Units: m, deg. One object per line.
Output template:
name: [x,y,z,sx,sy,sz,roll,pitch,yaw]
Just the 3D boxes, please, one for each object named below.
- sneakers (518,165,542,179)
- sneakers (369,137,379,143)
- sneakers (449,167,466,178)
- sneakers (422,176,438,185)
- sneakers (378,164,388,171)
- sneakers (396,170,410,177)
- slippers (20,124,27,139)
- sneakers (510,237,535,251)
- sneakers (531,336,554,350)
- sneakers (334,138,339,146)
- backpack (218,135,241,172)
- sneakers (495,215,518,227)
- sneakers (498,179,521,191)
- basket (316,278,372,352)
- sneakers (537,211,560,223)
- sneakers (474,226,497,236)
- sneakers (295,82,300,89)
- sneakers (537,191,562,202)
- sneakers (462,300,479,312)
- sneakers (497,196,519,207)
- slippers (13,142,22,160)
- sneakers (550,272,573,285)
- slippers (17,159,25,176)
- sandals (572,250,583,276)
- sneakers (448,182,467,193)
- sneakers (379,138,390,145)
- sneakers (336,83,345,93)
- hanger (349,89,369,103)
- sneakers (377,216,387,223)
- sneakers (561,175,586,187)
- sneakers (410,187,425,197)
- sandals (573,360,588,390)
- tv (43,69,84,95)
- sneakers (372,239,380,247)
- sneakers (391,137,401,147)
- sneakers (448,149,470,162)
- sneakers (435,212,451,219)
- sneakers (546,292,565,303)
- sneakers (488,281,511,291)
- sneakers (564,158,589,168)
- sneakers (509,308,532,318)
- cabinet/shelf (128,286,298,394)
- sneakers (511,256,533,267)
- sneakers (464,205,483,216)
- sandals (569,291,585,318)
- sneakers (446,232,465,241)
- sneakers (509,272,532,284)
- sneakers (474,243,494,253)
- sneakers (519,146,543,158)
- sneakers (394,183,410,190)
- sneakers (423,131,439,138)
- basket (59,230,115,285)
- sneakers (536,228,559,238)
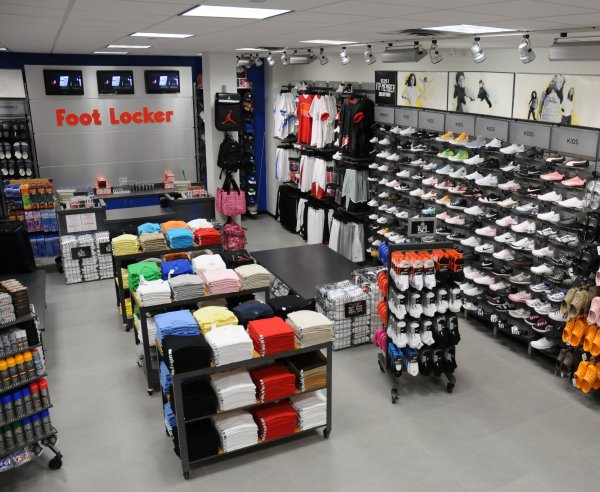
sneakers: [3.177,-1.020,6.058,0.114,0.120,0.268,-7,18,-31]
sneakers: [1.488,-2.136,8.786,0.098,0.066,0.133,-3,20,-10]
sneakers: [2.581,-1.209,7.167,0.262,0.136,0.158,-10,17,-34]
sneakers: [2.284,-1.160,7.724,0.225,0.104,0.122,10,21,31]
sneakers: [1.632,-1.549,8.637,0.162,0.110,0.099,4,13,6]
sneakers: [1.935,-1.377,8.253,0.190,0.086,0.117,4,13,20]
slippers: [-5.776,-2.408,9.121,0.090,0.322,0.234,-4,15,-6]
sneakers: [3.167,-0.038,6.233,0.286,0.158,0.145,8,14,33]
sneakers: [3.281,1.331,5.934,0.294,0.133,0.119,-2,9,-15]
sneakers: [0.793,-2.266,9.524,0.093,0.178,0.171,-5,16,-21]
backpack: [-1.609,-2.055,9.696,0.648,0.916,0.454,-8,16,-44]
sneakers: [3.059,-0.373,6.488,0.235,0.108,0.131,6,16,28]
sneakers: [3.076,-0.885,6.431,0.115,0.152,0.336,-5,14,-34]
basket: [0.629,0.846,6.794,0.781,1.148,1.099,-5,19,-13]
sneakers: [3.329,-0.394,5.833,0.105,0.131,0.291,-8,18,-29]
sneakers: [2.874,-0.236,6.776,0.121,0.153,0.338,-6,13,-25]
sneakers: [-0.099,-4.016,10.915,0.119,0.151,0.347,-1,13,-10]
sneakers: [3.314,-0.658,5.806,0.283,0.130,0.106,9,14,41]
sneakers: [2.744,0.980,7.095,0.156,0.075,0.221,-12,21,-29]
sneakers: [3.067,-0.654,6.447,0.109,0.144,0.325,-4,13,-23]
slippers: [-5.887,-1.981,9.051,0.123,0.334,0.103,-5,-18,-20]
sneakers: [3.434,0.441,5.753,0.101,0.116,0.244,-6,14,-28]
slippers: [-5.905,-1.661,9.224,0.108,0.340,0.115,-8,8,-36]
sandals: [3.410,0.220,5.408,0.096,0.303,0.115,-2,-4,6]
sneakers: [2.580,-0.976,7.226,0.141,0.192,0.317,-7,16,-26]
sneakers: [1.647,-2.062,8.598,0.194,0.092,0.103,-2,9,-19]
sneakers: [0.849,-3.392,9.350,0.209,0.199,0.132,1,22,-4]
hanger: [1.169,-3.034,8.884,0.292,0.149,0.408,-2,17,-8]
sneakers: [1.640,-0.521,8.733,0.114,0.084,0.166,-2,11,-4]
sneakers: [3.441,-0.815,5.524,0.114,0.092,0.211,-8,14,-30]
sneakers: [2.130,-0.989,8.028,0.271,0.113,0.117,-5,10,-39]
sandals: [3.366,1.548,5.321,0.144,0.377,0.120,-5,15,-41]
tv: [-5.058,-3.504,9.347,0.757,0.513,0.100,-12,17,-31]
sneakers: [1.532,-0.064,8.899,0.142,0.098,0.085,0,6,-31]
sneakers: [1.819,-1.990,8.357,0.138,0.282,0.180,6,10,40]
sneakers: [2.598,-1.482,7.136,0.134,0.176,0.402,-5,15,-16]
sneakers: [2.407,-0.518,7.471,0.112,0.100,0.191,-2,4,-16]
sneakers: [3.344,0.670,5.763,0.091,0.107,0.236,-3,9,-23]
sneakers: [3.014,0.609,6.624,0.278,0.127,0.116,-2,14,-7]
sneakers: [3.447,-1.032,5.447,0.220,0.094,0.081,9,13,26]
sneakers: [3.157,0.964,6.298,0.275,0.135,0.111,2,14,8]
cabinet/shelf: [-1.665,1.025,5.913,1.528,0.979,1.545,-7,15,-25]
sneakers: [3.222,0.241,6.349,0.261,0.156,0.157,10,19,37]
sneakers: [2.742,-0.563,6.944,0.109,0.138,0.308,-3,11,-13]
sandals: [3.260,0.672,5.180,0.130,0.349,0.121,-2,6,-41]
sneakers: [2.590,-0.154,7.338,0.311,0.141,0.127,5,4,-11]
sneakers: [3.197,0.469,6.338,0.117,0.147,0.301,-6,9,-37]
sneakers: [2.889,0.045,6.868,0.261,0.119,0.121,11,16,40]
sneakers: [3.188,-1.291,6.023,0.285,0.131,0.108,12,12,14]
sneakers: [1.930,-1.141,8.343,0.282,0.120,0.116,2,8,-20]
sneakers: [2.291,-1.974,7.715,0.095,0.113,0.269,-8,22,-29]
basket: [-4.150,0.202,8.477,0.855,0.874,0.514,-6,13,-21]
sneakers: [3.320,-0.179,5.920,0.097,0.099,0.210,-5,10,-30]
